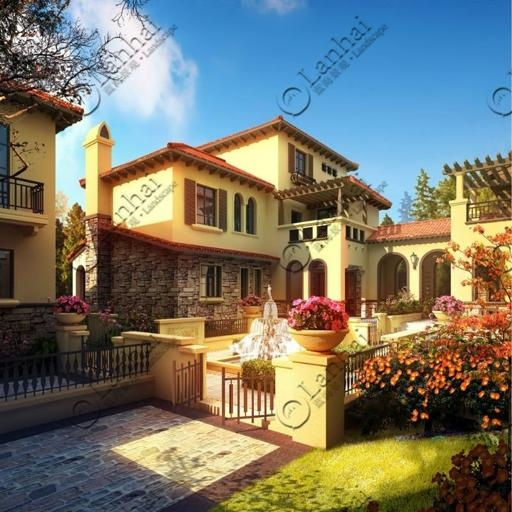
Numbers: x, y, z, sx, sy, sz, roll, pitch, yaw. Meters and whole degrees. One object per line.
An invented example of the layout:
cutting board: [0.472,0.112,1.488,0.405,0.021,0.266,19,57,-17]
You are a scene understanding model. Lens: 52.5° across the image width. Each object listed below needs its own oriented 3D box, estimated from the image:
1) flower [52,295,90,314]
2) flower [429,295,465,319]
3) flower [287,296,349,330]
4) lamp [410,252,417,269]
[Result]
flower: [-5.051,1.350,14.177,0.625,0.411,0.610,4,-5,12]
flower: [6.680,1.832,18.038,0.679,0.790,1.037,-7,12,-31]
flower: [1.223,1.149,9.892,0.737,0.480,0.786,1,-9,11]
lamp: [7.145,0.212,23.471,0.106,0.737,0.378,-6,12,-31]
